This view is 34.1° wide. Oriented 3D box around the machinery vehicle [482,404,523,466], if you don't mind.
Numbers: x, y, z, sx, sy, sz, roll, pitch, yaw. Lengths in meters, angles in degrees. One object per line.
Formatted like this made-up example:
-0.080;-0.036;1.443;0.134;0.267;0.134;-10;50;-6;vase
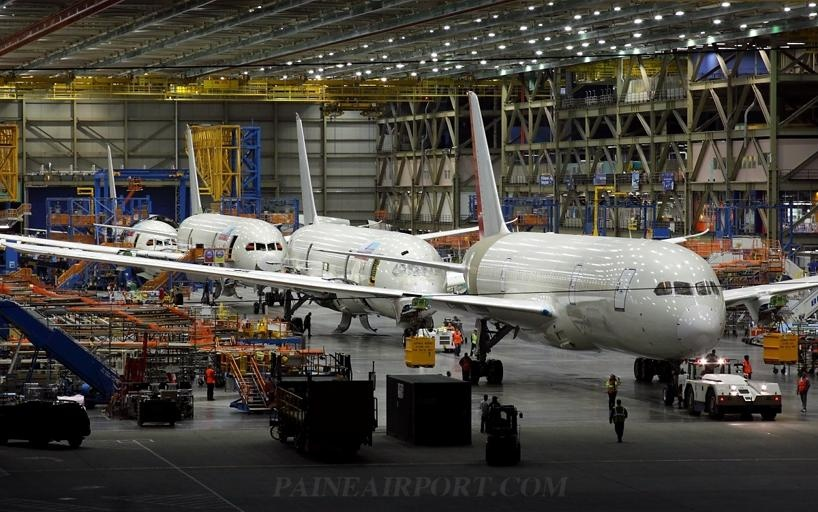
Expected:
4.170;7.329;58.887;1.828;2.004;4.196;-1;17;5;machinery vehicle

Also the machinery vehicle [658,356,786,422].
15.104;6.377;64.135;3.118;2.000;4.923;1;-5;-12;machinery vehicle
